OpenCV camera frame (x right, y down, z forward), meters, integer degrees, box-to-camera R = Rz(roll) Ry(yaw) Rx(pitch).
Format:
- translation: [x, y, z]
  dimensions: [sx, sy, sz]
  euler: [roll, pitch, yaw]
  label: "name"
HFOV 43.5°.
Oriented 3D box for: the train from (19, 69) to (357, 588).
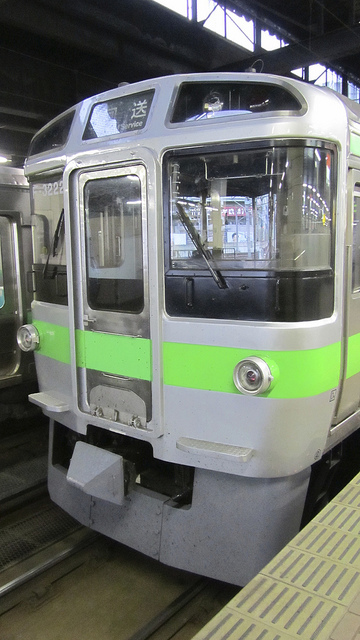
- translation: [0.544, -0.235, 3.777]
  dimensions: [1.801, 2.382, 3.423]
  euler: [5, 11, 34]
  label: "train"
